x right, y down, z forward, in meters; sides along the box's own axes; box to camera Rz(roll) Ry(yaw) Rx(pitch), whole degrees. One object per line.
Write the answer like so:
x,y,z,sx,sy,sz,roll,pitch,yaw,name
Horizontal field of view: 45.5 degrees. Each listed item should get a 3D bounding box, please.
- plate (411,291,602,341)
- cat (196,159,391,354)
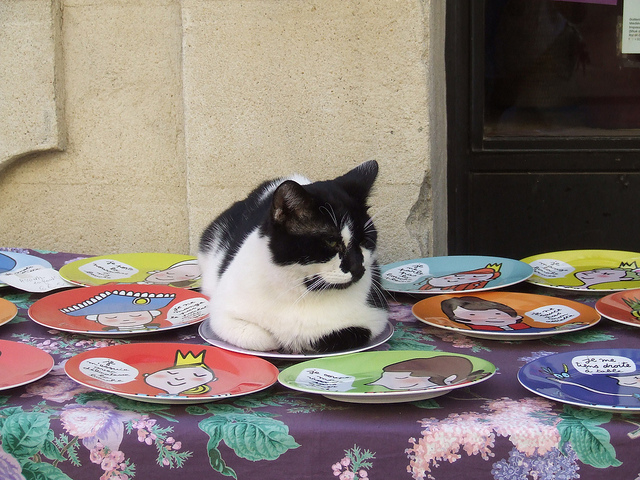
0.396,0.167,1.711,0.394,0.041,0.337,-2,13,-13,plate
-0.009,0.014,1.950,0.602,0.349,0.790,-2,12,-5,cat
